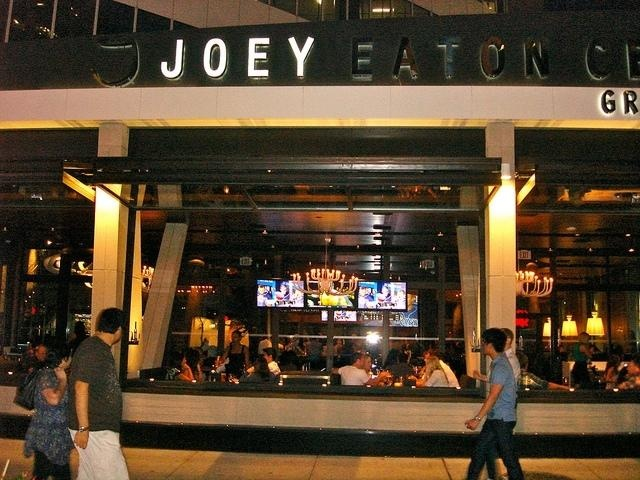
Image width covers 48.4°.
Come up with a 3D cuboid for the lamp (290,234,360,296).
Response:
[{"bbox_3d":[0.157,0.518,17.583,1.529,1.675,1.433,5,-24,-5],"label":"lamp"}]

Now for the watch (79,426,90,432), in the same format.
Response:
[{"bbox_3d":[-2.690,2.163,8.179,0.077,0.038,0.060,-20,-28,41],"label":"watch"}]

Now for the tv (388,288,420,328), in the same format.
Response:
[{"bbox_3d":[2.062,1.726,17.827,1.157,1.007,0.104,0,1,2],"label":"tv"}]
